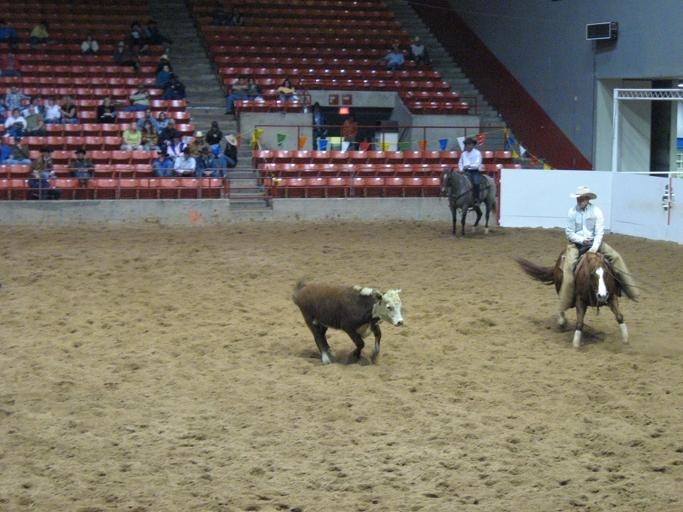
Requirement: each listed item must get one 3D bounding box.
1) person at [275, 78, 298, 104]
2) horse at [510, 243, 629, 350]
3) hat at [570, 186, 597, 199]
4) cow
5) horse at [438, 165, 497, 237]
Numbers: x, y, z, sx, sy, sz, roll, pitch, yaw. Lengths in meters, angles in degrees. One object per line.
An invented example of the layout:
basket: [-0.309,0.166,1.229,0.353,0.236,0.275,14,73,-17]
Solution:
person: [-1.882,-5.650,31.994,0.687,0.725,0.794,-3,11,-3]
horse: [4.279,0.525,16.891,1.313,1.734,3.123,-4,11,-9]
hat: [4.276,-1.121,16.527,0.311,0.279,0.868,0,10,10]
cow: [0.101,1.127,15.439,2.526,1.318,0.686,6,8,44]
horse: [3.391,-1.516,25.020,0.895,1.786,2.335,3,12,24]
